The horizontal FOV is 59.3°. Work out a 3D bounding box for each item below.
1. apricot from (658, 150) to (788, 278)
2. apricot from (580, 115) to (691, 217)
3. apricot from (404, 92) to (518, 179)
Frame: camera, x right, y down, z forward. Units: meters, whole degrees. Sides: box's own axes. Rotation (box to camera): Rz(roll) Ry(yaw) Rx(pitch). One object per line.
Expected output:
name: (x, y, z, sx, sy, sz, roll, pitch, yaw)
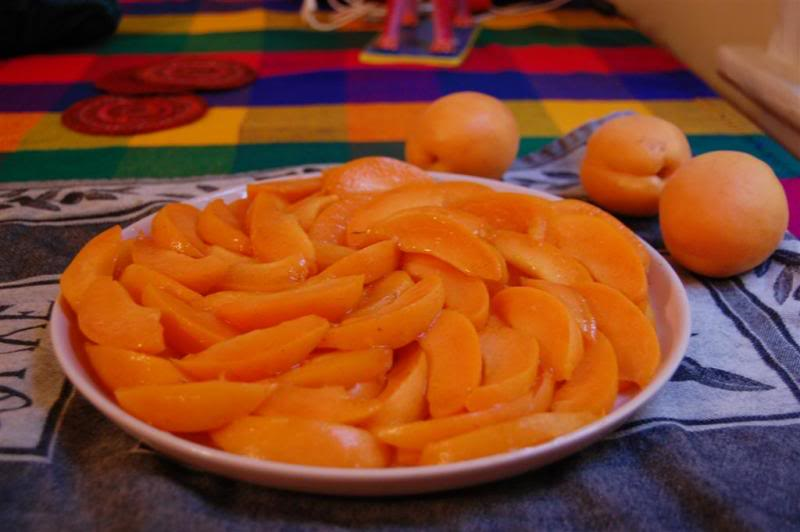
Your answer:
apricot: (0.553, -0.103, 1.268, 0.253, 0.212, 0.240, -4, -1, -8)
apricot: (0.455, -0.199, 1.396, 0.193, 0.192, 0.235, 21, 35, 40)
apricot: (0.099, -0.247, 1.447, 0.241, 0.169, 0.191, -14, 13, -7)
